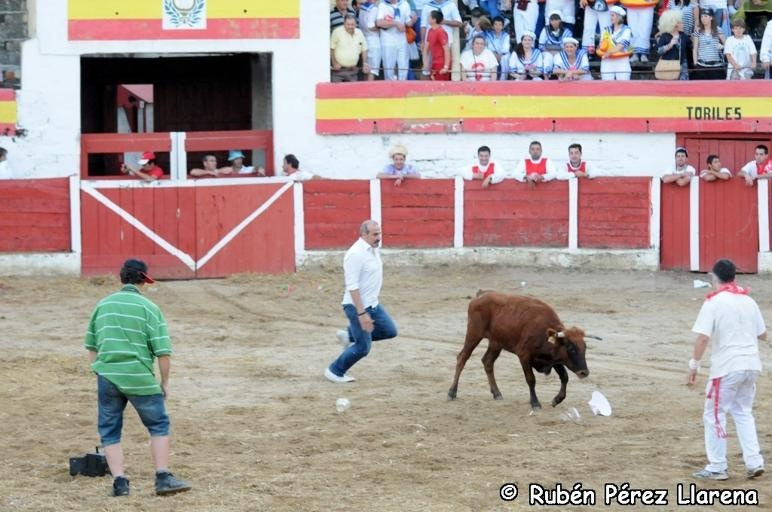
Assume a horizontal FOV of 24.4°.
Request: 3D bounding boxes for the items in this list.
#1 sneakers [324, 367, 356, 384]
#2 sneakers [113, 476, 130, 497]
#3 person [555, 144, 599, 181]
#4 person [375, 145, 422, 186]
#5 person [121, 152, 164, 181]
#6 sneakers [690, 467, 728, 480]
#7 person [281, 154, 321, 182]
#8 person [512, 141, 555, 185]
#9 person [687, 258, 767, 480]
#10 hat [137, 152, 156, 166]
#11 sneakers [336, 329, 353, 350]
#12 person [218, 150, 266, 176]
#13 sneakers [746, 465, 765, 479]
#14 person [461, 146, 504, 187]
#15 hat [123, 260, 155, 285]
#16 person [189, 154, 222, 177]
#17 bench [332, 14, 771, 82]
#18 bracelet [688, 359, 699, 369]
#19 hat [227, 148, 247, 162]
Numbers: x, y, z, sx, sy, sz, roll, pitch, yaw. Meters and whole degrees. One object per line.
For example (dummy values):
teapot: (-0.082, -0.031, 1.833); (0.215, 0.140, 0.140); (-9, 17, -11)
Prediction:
sneakers: (-0.805, 1.995, 29.716); (0.533, 0.223, 0.204); (9, 13, -8)
sneakers: (-3.990, 3.470, 26.729); (0.184, 0.240, 0.355); (1, 4, -2)
person: (3.761, -1.879, 35.870); (0.836, 0.715, 0.501); (-5, 8, 6)
person: (0.210, -1.751, 36.132); (0.889, 1.208, 0.782); (-1, 14, -1)
person: (-4.732, -1.766, 36.049); (0.670, 0.513, 0.910); (6, 3, 29)
sneakers: (4.903, 3.288, 27.196); (0.467, 0.211, 0.184); (3, 4, 9)
person: (-1.760, -1.732, 35.940); (0.719, 0.314, 0.459); (23, 1, -9)
person: (2.951, -1.870, 35.918); (0.814, 0.831, 1.002); (-1, 12, 7)
person: (5.214, 1.721, 27.065); (1.191, 3.251, 1.096); (13, 18, 37)
hat: (-4.819, -1.962, 35.909); (0.322, 0.327, 0.557); (-1, 15, -11)
sneakers: (-0.676, 1.393, 29.638); (0.200, 0.389, 0.155); (-35, 10, 4)
person: (-2.953, -1.943, 36.528); (0.899, 0.491, 1.015); (1, 15, -4)
sneakers: (5.566, 3.267, 27.086); (0.121, 0.131, 0.310); (7, 23, 42)
person: (1.964, -1.740, 36.148); (1.003, 1.278, 0.751); (-1, 4, 1)
hat: (-3.759, 0.237, 27.081); (0.303, 0.244, 0.474); (12, -1, 10)
person: (-3.628, -1.824, 35.986); (0.606, 0.438, 0.701); (-2, 15, -15)
bench: (3.881, -4.436, 37.189); (8.145, 1.597, 1.993); (3, 15, 4)
bracelet: (4.631, 1.635, 27.072); (0.190, 0.154, 0.165); (0, -3, 10)
hat: (-3.135, -2.083, 36.614); (0.238, 0.142, 0.271); (-8, -2, -23)
